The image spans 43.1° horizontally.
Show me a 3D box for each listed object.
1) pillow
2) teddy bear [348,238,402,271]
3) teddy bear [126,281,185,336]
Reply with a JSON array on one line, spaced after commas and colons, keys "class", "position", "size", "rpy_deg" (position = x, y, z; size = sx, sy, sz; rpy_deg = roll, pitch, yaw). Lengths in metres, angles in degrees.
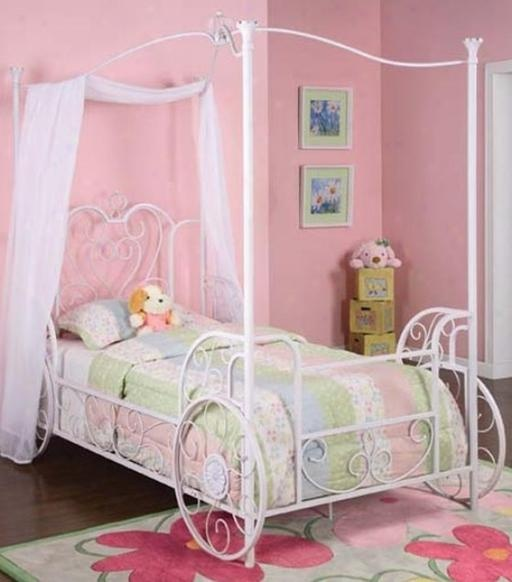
[{"class": "pillow", "position": [-0.725, 0.143, 3.512], "size": [0.455, 0.111, 0.370], "rpy_deg": [-10, 19, -39]}, {"class": "teddy bear", "position": [0.961, -0.295, 5.220], "size": [0.375, 0.211, 0.269], "rpy_deg": [-1, 5, -14]}, {"class": "teddy bear", "position": [-0.578, 0.105, 3.636], "size": [0.295, 0.299, 0.217], "rpy_deg": [-7, 17, -32]}]
